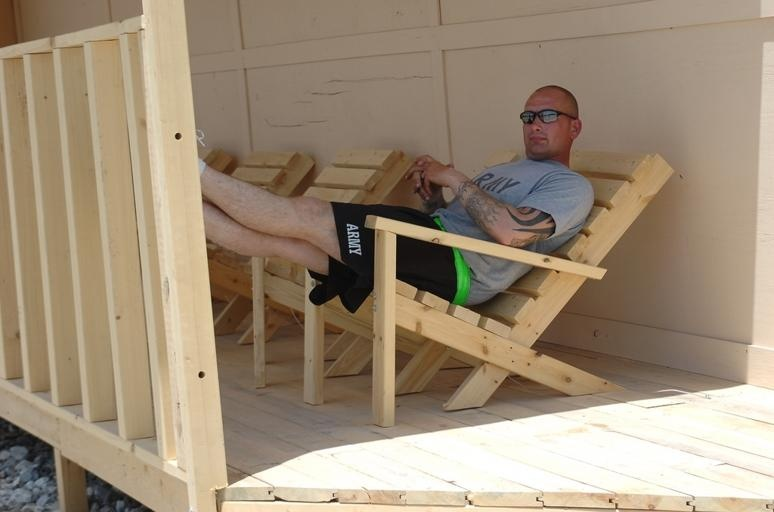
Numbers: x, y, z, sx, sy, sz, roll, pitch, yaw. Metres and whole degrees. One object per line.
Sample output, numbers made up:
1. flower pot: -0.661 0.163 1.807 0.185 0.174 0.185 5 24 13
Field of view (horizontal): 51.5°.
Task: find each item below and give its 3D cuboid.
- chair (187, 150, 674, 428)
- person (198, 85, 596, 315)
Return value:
1. chair: 0.206 0.079 4.099 1.974 0.984 1.426 -3 7 -32
2. person: -0.027 -0.269 4.044 2.144 0.922 0.820 -1 13 0
